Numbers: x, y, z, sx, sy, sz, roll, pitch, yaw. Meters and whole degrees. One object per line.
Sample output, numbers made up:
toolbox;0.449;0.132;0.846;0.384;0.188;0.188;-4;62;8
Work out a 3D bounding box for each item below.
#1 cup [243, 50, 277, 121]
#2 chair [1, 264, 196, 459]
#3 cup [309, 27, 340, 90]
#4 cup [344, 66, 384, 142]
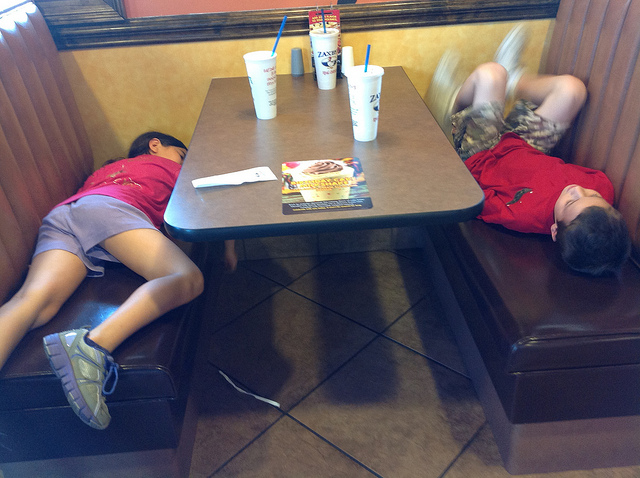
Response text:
cup;-0.200;-0.539;1.763;0.101;0.219;0.054;-10;40;-6
chair;-0.707;0.443;1.631;0.497;0.319;0.659;2;41;-12
cup;0.058;-0.739;2.034;0.143;0.222;0.141;-2;20;1
cup;0.145;-0.495;1.603;0.122;0.331;0.122;-2;22;1
